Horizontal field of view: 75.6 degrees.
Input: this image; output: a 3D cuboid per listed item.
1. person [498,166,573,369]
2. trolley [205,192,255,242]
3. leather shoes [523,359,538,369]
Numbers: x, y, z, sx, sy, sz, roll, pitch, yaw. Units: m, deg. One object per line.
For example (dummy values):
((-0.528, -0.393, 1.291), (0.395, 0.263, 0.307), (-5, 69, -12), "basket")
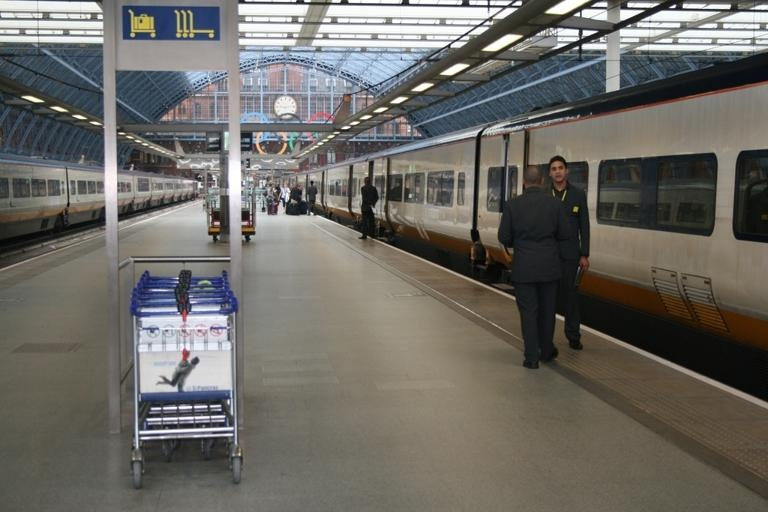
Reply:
((1.780, 0.139, 5.921), (0.776, 2.365, 0.451), (3, 8, 20), "person")
((-5.787, -1.539, 18.983), (1.757, 1.935, 1.915), (-2, 8, -17), "trolley")
((1.748, 1.301, 5.886), (0.089, 0.098, 0.145), (1, -6, -11), "leather shoes")
